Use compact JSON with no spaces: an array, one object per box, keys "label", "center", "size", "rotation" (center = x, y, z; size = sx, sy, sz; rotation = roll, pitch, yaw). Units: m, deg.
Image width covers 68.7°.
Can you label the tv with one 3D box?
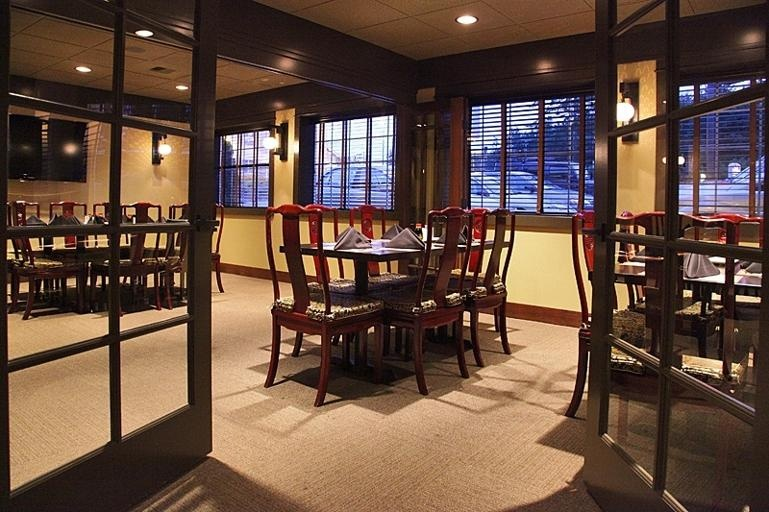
[{"label":"tv","center":[-1.229,-0.390,2.029],"size":[0.041,0.246,0.298],"rotation":[-5,-4,38]}]
